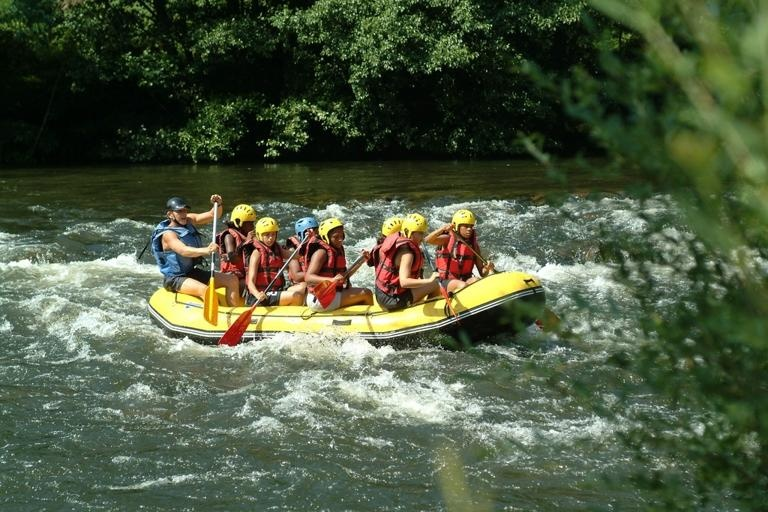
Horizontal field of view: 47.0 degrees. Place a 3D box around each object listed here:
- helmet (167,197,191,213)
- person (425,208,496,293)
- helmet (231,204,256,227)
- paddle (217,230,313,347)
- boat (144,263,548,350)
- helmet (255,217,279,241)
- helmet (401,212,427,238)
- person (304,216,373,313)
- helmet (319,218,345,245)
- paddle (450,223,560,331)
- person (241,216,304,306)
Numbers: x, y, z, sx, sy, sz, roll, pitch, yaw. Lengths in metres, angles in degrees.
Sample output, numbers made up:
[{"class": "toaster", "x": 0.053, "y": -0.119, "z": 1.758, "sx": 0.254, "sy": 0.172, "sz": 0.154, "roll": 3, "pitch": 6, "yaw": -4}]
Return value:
[{"class": "helmet", "x": -2.409, "y": -0.596, "z": 10.313, "sx": 0.217, "sy": 0.135, "sz": 0.201, "roll": 13, "pitch": 15, "yaw": 38}, {"class": "person", "x": 0.895, "y": 0.057, "z": 10.103, "sx": 0.810, "sy": 1.109, "sz": 0.663, "roll": 3, "pitch": 3, "yaw": 10}, {"class": "helmet", "x": -1.723, "y": -0.526, "z": 10.737, "sx": 0.328, "sy": 0.257, "sz": 0.231, "roll": -13, "pitch": 18, "yaw": 9}, {"class": "paddle", "x": -1.305, "y": 0.516, "z": 9.836, "sx": 0.255, "sy": 0.058, "sz": 1.382, "roll": 6, "pitch": 39, "yaw": 35}, {"class": "boat", "x": -0.470, "y": 0.663, "z": 9.485, "sx": 3.167, "sy": 0.522, "sz": 1.484, "roll": -1, "pitch": 1, "yaw": 19}, {"class": "helmet", "x": -1.351, "y": -0.282, "z": 10.183, "sx": 0.204, "sy": 0.274, "sz": 0.219, "roll": 4, "pitch": 28, "yaw": -18}, {"class": "helmet", "x": 0.316, "y": -0.334, "z": 9.526, "sx": 0.285, "sy": 0.257, "sz": 0.210, "roll": -7, "pitch": 11, "yaw": 13}, {"class": "person", "x": -0.491, "y": 0.079, "z": 9.772, "sx": 0.788, "sy": 1.006, "sz": 0.861, "roll": -9, "pitch": 13, "yaw": -43}, {"class": "helmet", "x": -0.597, "y": -0.296, "z": 9.787, "sx": 0.301, "sy": 0.225, "sz": 0.212, "roll": -12, "pitch": -4, "yaw": 32}, {"class": "paddle", "x": 1.317, "y": 0.210, "z": 9.743, "sx": 0.794, "sy": 0.339, "sz": 1.353, "roll": 36, "pitch": 7, "yaw": -42}, {"class": "person", "x": -1.197, "y": 0.071, "z": 10.184, "sx": 0.873, "sy": 1.020, "sz": 0.711, "roll": -4, "pitch": 10, "yaw": -11}]
